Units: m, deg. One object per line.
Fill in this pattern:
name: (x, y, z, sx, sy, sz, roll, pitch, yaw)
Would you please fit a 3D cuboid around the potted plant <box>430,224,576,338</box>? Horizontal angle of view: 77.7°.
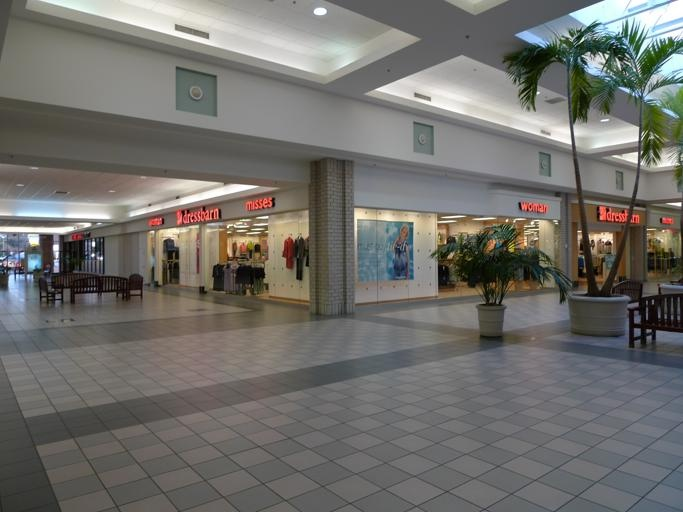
potted plant: (3.338, 0.527, 9.218, 2.016, 2.411, 1.012, 1, 4, 23)
